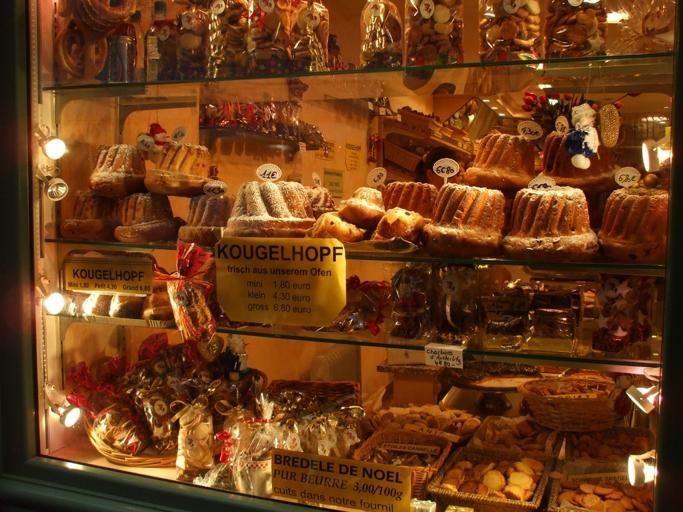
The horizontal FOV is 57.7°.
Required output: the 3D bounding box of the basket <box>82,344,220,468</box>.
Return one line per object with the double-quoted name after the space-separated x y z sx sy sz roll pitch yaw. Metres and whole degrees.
-0.670 0.597 2.277 0.374 0.148 0.448 15 25 0 "basket"
